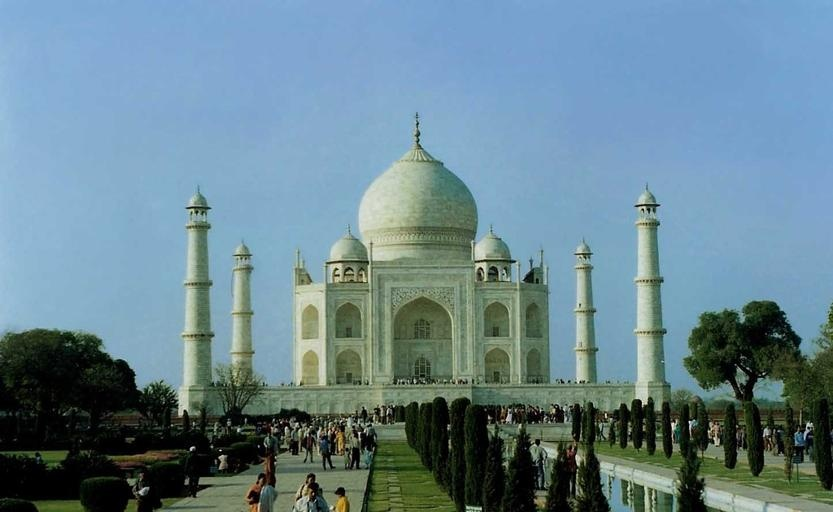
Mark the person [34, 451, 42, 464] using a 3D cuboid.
[{"bbox_3d":[-15.313,8.148,58.633,0.315,0.537,2.511,1,-12,-15],"label":"person"}]
